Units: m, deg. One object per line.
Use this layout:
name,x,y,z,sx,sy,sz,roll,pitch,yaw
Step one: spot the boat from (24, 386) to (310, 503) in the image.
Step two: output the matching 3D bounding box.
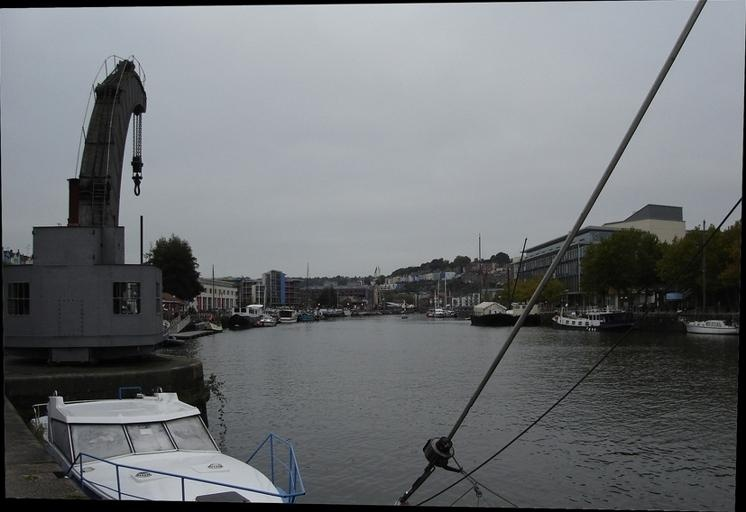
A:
boat,-5.559,5.042,18.454,3.148,1.882,8.720,0,0,-36
